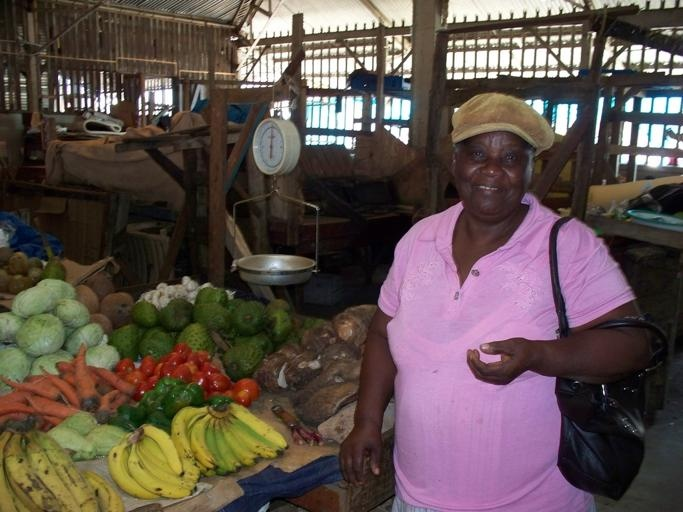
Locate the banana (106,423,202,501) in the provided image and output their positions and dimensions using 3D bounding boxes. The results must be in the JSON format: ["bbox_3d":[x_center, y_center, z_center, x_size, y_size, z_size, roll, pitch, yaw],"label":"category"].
[{"bbox_3d":[-0.708,0.813,2.096,0.320,0.129,0.234,34,51,20],"label":"banana"}]

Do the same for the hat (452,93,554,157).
[{"bbox_3d":[0.510,-0.434,1.762,0.213,0.109,0.270,11,7,19],"label":"hat"}]

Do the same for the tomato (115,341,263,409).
[{"bbox_3d":[-0.770,0.549,2.864,0.397,0.137,0.431,25,-1,-28],"label":"tomato"}]

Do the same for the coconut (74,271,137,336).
[{"bbox_3d":[-1.593,0.283,3.753,0.334,0.380,0.330,-4,12,-34],"label":"coconut"}]

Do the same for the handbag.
[{"bbox_3d":[0.826,0.462,1.719,0.237,0.463,0.258,7,11,28],"label":"handbag"}]
